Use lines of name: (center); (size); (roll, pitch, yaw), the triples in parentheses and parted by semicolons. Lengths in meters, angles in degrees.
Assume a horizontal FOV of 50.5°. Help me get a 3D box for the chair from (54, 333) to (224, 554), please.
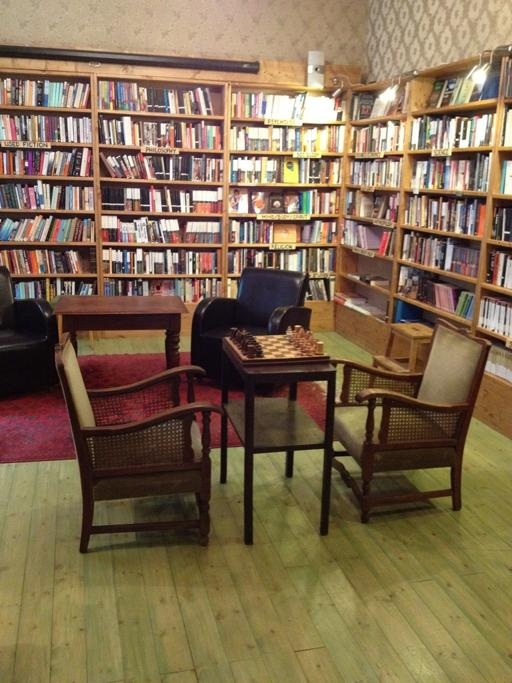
chair: (-0.429, 0.325, 2.642); (0.938, 1.120, 0.745); (-1, 18, -9)

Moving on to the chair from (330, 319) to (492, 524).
chair: (0.690, 0.354, 2.577); (0.650, 0.853, 0.563); (0, 11, -9)

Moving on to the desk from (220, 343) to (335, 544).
desk: (0.073, 0.443, 2.460); (0.424, 0.693, 0.565); (1, 2, -17)
